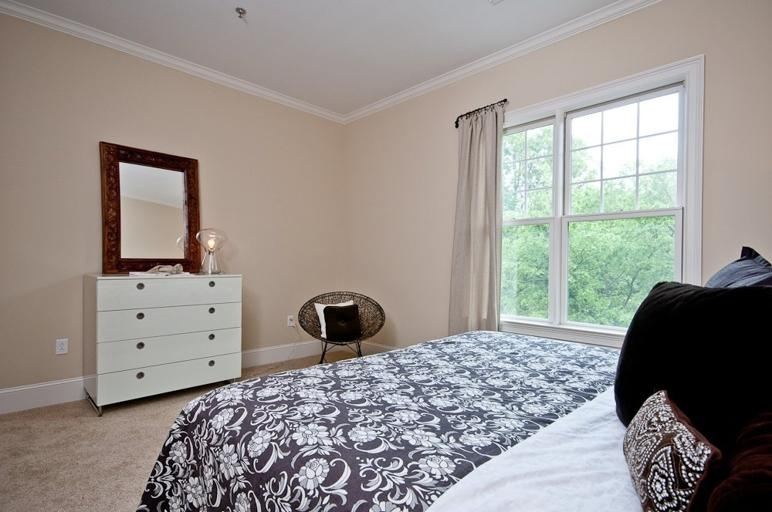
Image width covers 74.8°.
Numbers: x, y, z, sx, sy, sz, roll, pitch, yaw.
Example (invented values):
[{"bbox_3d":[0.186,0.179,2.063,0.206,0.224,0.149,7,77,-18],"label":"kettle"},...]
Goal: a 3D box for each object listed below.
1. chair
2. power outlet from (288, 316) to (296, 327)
[{"bbox_3d":[-0.472,0.793,5.141,0.818,0.557,0.686,2,8,-19],"label":"chair"},{"bbox_3d":[-1.055,0.716,5.596,0.123,0.159,0.022,3,-4,-44],"label":"power outlet"}]
